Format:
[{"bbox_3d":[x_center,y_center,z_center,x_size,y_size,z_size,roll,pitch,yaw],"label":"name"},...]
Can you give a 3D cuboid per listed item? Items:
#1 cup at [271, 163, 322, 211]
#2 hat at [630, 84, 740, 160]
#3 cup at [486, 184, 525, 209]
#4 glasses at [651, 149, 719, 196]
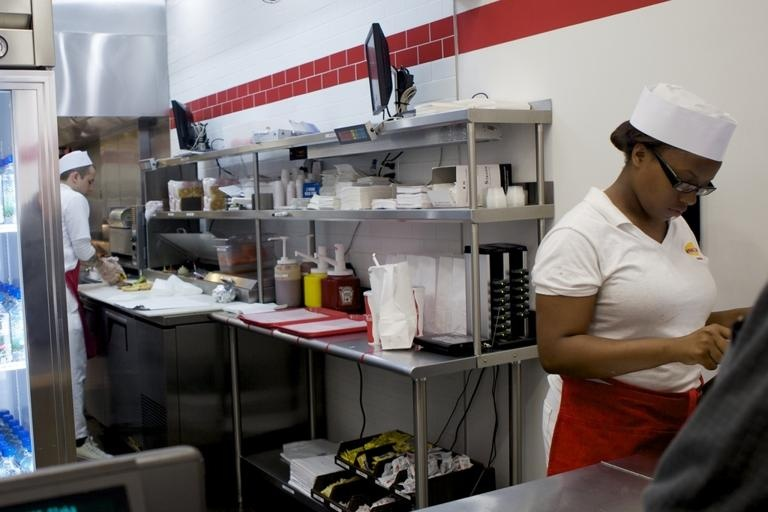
[{"bbox_3d":[-0.591,-0.458,3.842,0.360,0.406,0.303,4,5,35],"label":"cup"},{"bbox_3d":[0.927,-0.357,1.769,0.258,0.133,0.256,8,22,-37],"label":"hat"},{"bbox_3d":[0.561,-0.273,2.637,0.163,0.078,0.098,-5,9,-14],"label":"cup"},{"bbox_3d":[0.884,-0.230,1.731,0.152,0.040,0.150,7,39,-54],"label":"glasses"}]
